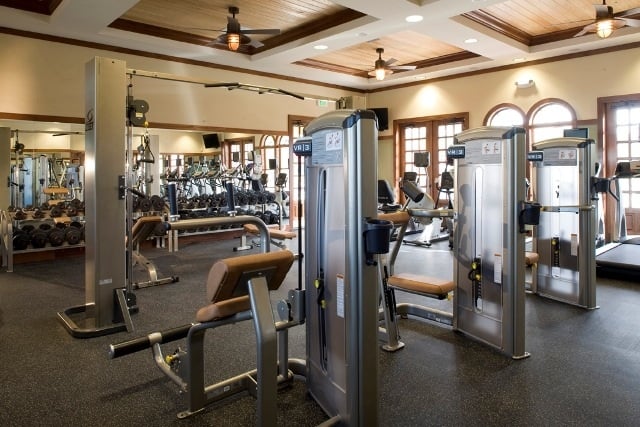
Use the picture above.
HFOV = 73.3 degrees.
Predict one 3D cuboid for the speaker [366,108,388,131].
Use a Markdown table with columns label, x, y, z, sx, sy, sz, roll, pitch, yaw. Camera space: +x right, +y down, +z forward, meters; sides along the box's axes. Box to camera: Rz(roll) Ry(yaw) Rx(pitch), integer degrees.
| label | x | y | z | sx | sy | sz | roll | pitch | yaw |
| --- | --- | --- | --- | --- | --- | --- | --- | --- | --- |
| speaker | 1.651 | -2.634 | 11.933 | 0.398 | 0.661 | 0.611 | 2 | 7 | 21 |

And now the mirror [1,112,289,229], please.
| label | x | y | z | sx | sy | sz | roll | pitch | yaw |
| --- | --- | --- | --- | --- | --- | --- | --- | --- | --- |
| mirror | -3.411 | -0.799 | 7.986 | 7.140 | 2.096 | 0.222 | 0 | 6 | -43 |

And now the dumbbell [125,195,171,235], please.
| label | x | y | z | sx | sy | sz | roll | pitch | yaw |
| --- | --- | --- | --- | --- | --- | --- | --- | --- | --- |
| dumbbell | -3.186 | -0.005 | 8.195 | 0.659 | 0.736 | 2.526 | -3 | 7 | -22 |

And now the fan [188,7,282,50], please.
| label | x | y | z | sx | sy | sz | roll | pitch | yaw |
| --- | --- | --- | --- | --- | --- | --- | --- | --- | --- |
| fan | -1.249 | -3.027 | 7.113 | 1.075 | 0.530 | 1.047 | -5 | 6 | -29 |
